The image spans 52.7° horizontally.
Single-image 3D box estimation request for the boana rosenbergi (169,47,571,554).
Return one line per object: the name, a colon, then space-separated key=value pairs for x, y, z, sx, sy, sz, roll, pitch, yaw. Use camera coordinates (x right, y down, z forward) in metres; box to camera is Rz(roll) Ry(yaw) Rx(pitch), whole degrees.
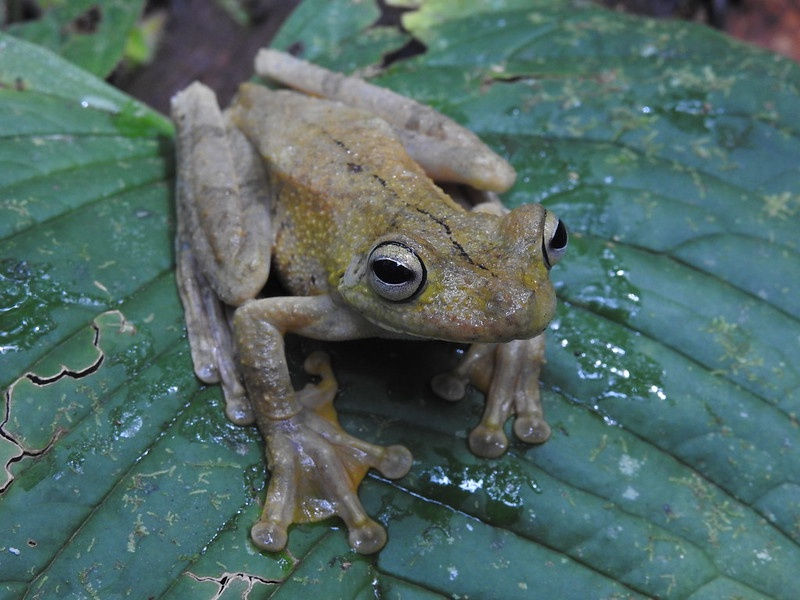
boana rosenbergi: x=-0.127 y=-0.250 z=3.073 sx=1.449 sy=0.765 sz=2.021 roll=-15 pitch=48 yaw=-16
